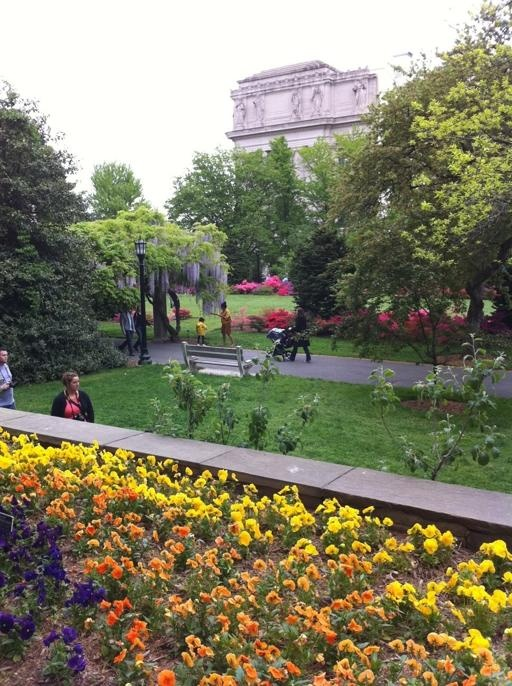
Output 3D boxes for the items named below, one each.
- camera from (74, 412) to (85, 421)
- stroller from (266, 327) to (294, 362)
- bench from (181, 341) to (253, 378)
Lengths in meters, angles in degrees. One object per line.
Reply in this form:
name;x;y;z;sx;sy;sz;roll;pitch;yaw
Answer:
camera;-2.069;0.845;7.149;0.070;0.060;0.115;17;-16;-17
stroller;0.798;-0.022;18.702;1.033;1.158;0.743;-2;4;11
bench;-0.884;0.338;14.896;1.654;0.779;1.773;4;7;18
